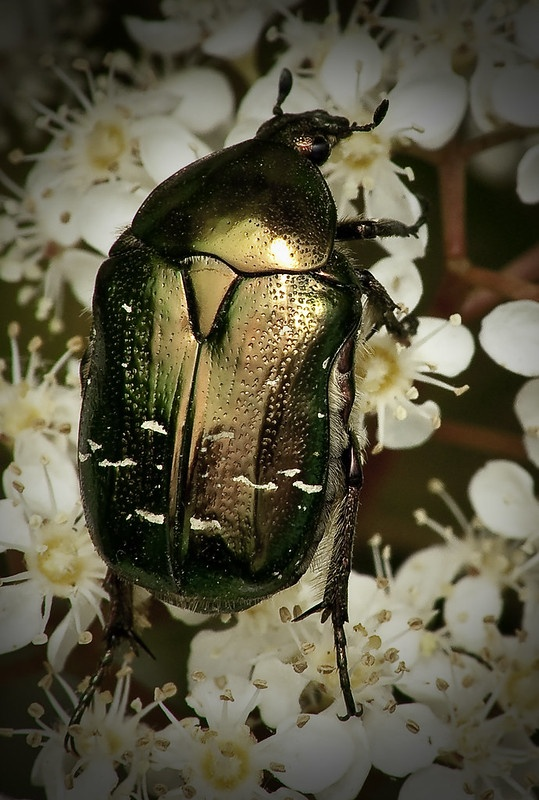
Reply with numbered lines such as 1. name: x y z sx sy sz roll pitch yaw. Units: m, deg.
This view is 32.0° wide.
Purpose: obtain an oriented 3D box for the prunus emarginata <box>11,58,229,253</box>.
1. prunus emarginata: -0.297 -0.551 2.256 0.417 0.133 0.433 41 97 26
